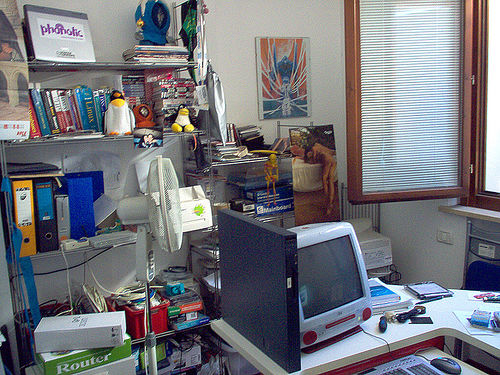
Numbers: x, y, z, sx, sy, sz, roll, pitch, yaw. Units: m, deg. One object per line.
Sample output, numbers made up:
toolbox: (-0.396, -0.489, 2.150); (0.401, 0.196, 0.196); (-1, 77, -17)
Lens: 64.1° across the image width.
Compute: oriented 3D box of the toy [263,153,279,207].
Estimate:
toy: (0.182, -0.074, 3.377); (0.163, 0.438, 0.108); (-6, 9, -13)

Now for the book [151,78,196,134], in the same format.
book: (-0.585, -0.585, 2.961); (0.300, 0.434, 0.127); (-4, 6, -26)

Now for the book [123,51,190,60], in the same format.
book: (-0.711, -0.976, 2.930); (0.492, 0.037, 0.202); (-5, 10, -4)

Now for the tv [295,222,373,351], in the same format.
tv: (0.491, 0.597, 2.207); (0.438, 0.350, 0.638); (-22, 46, 16)

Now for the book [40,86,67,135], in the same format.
book: (-1.308, -0.517, 2.681); (0.069, 0.343, 0.337); (-13, 26, -35)

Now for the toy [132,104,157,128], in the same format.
toy: (-0.790, -0.525, 2.946); (0.129, 0.181, 0.171); (-1, -3, -14)

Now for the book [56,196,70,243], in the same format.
book: (-1.271, 0.209, 2.669); (0.075, 0.294, 0.016); (-8, 10, -29)

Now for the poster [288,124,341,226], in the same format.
poster: (0.589, -0.107, 3.495); (0.439, 0.860, 0.006); (-4, -3, -2)

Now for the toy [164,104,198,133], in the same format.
toy: (-0.535, -0.506, 2.932); (0.198, 0.214, 0.097); (-6, 9, -13)

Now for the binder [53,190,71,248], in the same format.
binder: (-1.263, 0.191, 2.666); (0.115, 0.325, 0.053); (16, 16, 42)
